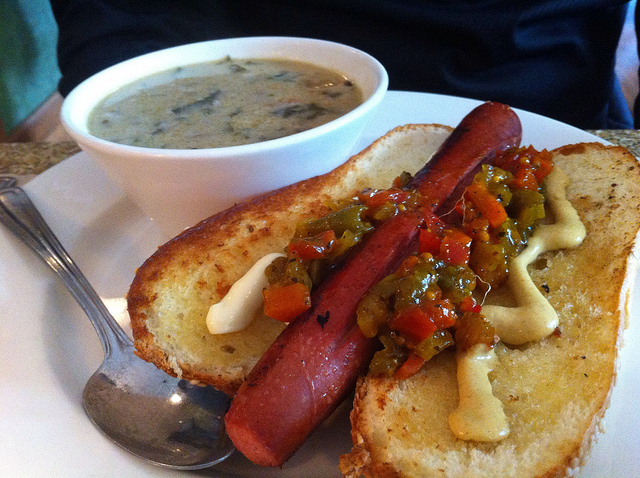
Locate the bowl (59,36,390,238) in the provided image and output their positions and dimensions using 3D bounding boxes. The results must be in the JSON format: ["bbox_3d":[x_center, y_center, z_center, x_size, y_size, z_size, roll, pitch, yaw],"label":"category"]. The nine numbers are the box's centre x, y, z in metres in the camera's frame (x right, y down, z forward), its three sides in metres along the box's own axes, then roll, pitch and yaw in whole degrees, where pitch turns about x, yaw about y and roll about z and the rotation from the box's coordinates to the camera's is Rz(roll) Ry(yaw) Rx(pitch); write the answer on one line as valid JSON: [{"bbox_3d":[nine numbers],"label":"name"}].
[{"bbox_3d":[-0.474,-0.500,3.194,1.288,0.521,1.343,-3,27,1],"label":"bowl"}]
